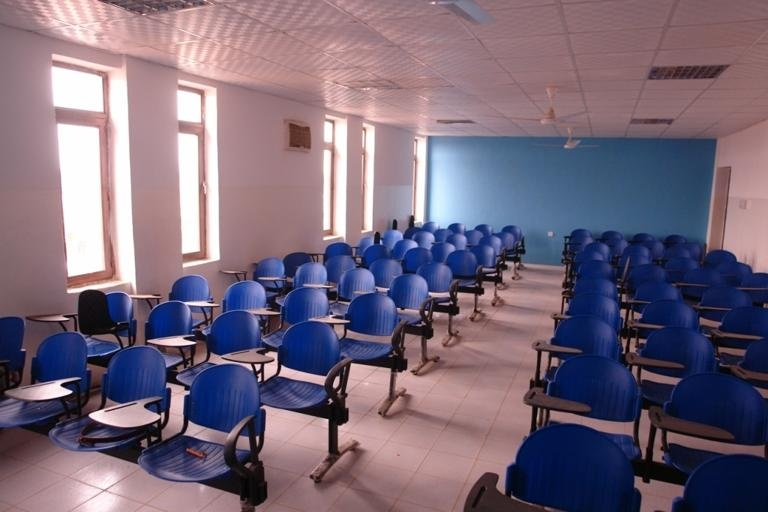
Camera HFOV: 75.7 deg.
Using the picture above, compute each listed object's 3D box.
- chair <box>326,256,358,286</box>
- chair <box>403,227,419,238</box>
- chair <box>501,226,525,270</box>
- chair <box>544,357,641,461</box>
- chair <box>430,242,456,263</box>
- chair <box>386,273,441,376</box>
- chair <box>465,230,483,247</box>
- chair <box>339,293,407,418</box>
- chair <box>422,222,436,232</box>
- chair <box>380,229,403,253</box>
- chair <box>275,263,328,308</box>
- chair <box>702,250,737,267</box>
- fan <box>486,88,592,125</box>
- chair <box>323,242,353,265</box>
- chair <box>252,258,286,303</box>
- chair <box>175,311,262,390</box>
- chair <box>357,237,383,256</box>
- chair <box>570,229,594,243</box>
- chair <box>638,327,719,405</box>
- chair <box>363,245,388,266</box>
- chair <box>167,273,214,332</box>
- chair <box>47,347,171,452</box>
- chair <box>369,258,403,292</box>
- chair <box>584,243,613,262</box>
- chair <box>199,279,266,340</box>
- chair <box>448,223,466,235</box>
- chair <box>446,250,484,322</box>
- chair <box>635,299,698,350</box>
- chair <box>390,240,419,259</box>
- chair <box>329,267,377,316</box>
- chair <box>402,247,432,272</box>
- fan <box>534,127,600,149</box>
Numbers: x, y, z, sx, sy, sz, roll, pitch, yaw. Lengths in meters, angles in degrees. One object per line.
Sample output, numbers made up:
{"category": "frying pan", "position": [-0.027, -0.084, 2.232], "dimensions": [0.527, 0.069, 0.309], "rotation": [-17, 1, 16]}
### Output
{"category": "chair", "position": [-0.692, 0.239, 8.232], "dimensions": [0.492, 0.500, 0.473], "rotation": [2, 4, -5]}
{"category": "chair", "position": [0.683, -0.586, 12.218], "dimensions": [0.332, 0.225, 0.322], "rotation": [-5, 6, -35]}
{"category": "chair", "position": [3.206, -0.217, 12.216], "dimensions": [0.658, 0.862, 0.713], "rotation": [3, -9, -40]}
{"category": "chair", "position": [1.897, 1.368, 4.511], "dimensions": [0.783, 0.799, 0.782], "rotation": [3, -23, 35]}
{"category": "chair", "position": [1.130, -0.086, 9.790], "dimensions": [0.468, 0.380, 0.494], "rotation": [-1, 0, -39]}
{"category": "chair", "position": [0.223, 0.862, 6.676], "dimensions": [1.023, 1.070, 0.818], "rotation": [3, 10, 32]}
{"category": "chair", "position": [2.111, -0.447, 11.779], "dimensions": [0.517, 0.542, 0.493], "rotation": [1, 0, 17]}
{"category": "chair", "position": [-0.245, 1.042, 5.654], "dimensions": [1.017, 1.110, 0.877], "rotation": [3, 8, 16]}
{"category": "chair", "position": [1.181, -0.764, 12.938], "dimensions": [0.330, 0.192, 0.313], "rotation": [0, 4, 8]}
{"category": "chair", "position": [0.156, -0.335, 10.981], "dimensions": [0.515, 0.598, 0.561], "rotation": [1, 0, 5]}
{"category": "chair", "position": [-1.093, 0.461, 7.345], "dimensions": [0.616, 0.680, 0.618], "rotation": [4, 6, 13]}
{"category": "chair", "position": [6.439, 0.042, 9.504], "dimensions": [0.382, 0.445, 0.416], "rotation": [3, 4, 43]}
{"category": "fan", "position": [2.677, -2.406, 8.376], "dimensions": [0.905, 0.400, 1.052], "rotation": [14, 7, 15]}
{"category": "chair", "position": [-0.858, -0.054, 9.422], "dimensions": [0.477, 0.520, 0.472], "rotation": [-1, 2, -18]}
{"category": "chair", "position": [-1.762, 0.364, 7.734], "dimensions": [0.624, 0.812, 0.657], "rotation": [1, 2, 0]}
{"category": "chair", "position": [-1.750, 1.000, 5.466], "dimensions": [0.676, 0.662, 0.754], "rotation": [-21, -23, 35]}
{"category": "chair", "position": [-0.306, -0.219, 10.109], "dimensions": [0.471, 0.530, 0.426], "rotation": [0, 0, 1]}
{"category": "chair", "position": [4.841, -0.501, 12.273], "dimensions": [0.470, 0.541, 0.503], "rotation": [1, 2, 32]}
{"category": "chair", "position": [3.089, 0.946, 5.256], "dimensions": [0.711, 0.660, 0.802], "rotation": [-6, -42, 39]}
{"category": "chair", "position": [-0.164, -0.017, 9.351], "dimensions": [0.416, 0.486, 0.427], "rotation": [0, -1, 3]}
{"category": "chair", "position": [-2.619, 0.756, 6.747], "dimensions": [0.527, 0.862, 0.609], "rotation": [-1, 48, -24]}
{"category": "chair", "position": [-2.299, 1.210, 4.222], "dimensions": [0.773, 0.661, 0.798], "rotation": [6, 7, 12]}
{"category": "chair", "position": [0.047, 0.317, 8.169], "dimensions": [0.507, 0.540, 0.501], "rotation": [1, -15, -1]}
{"category": "chair", "position": [4.349, -0.132, 9.965], "dimensions": [0.508, 0.421, 0.476], "rotation": [0, 12, 4]}
{"category": "chair", "position": [-1.792, 0.767, 6.251], "dimensions": [0.852, 0.850, 0.818], "rotation": [2, 0, -39]}
{"category": "chair", "position": [1.963, -0.755, 13.226], "dimensions": [0.374, 0.323, 0.374], "rotation": [9, 17, 41]}
{"category": "chair", "position": [1.250, 0.438, 8.478], "dimensions": [0.895, 1.004, 0.802], "rotation": [3, 12, 13]}
{"category": "chair", "position": [3.321, 0.709, 5.836], "dimensions": [0.708, 0.785, 0.646], "rotation": [1, 0, 25]}
{"category": "chair", "position": [0.374, -0.128, 9.991], "dimensions": [0.457, 0.355, 0.437], "rotation": [2, -6, 5]}
{"category": "chair", "position": [-0.455, 0.483, 7.163], "dimensions": [0.613, 0.707, 0.671], "rotation": [6, 3, 18]}
{"category": "chair", "position": [0.593, 0.058, 9.162], "dimensions": [0.485, 0.519, 0.479], "rotation": [1, -1, 9]}
{"category": "fan", "position": [4.638, -2.969, 12.431], "dimensions": [1.075, 0.338, 1.014], "rotation": [-1, 0, -8]}
